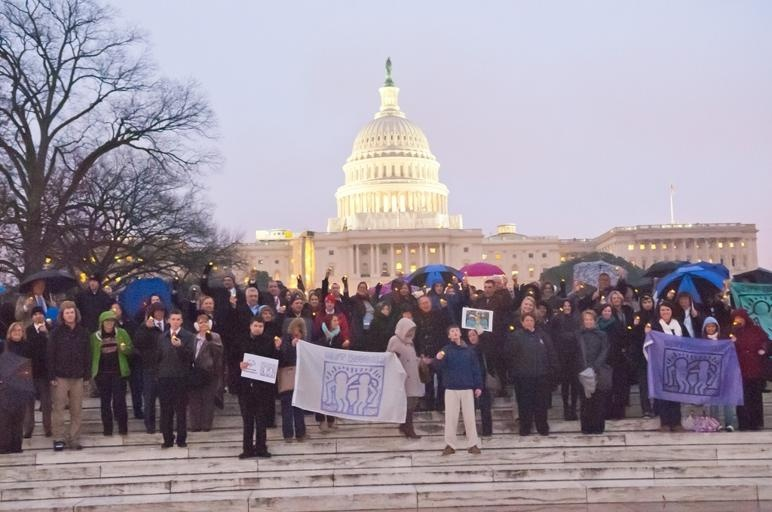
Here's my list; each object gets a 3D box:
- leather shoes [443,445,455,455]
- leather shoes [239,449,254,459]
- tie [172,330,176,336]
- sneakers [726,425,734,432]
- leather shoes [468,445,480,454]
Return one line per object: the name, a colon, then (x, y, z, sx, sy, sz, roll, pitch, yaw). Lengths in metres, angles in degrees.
leather shoes: (1.294, 3.981, 19.820, 0.262, 0.195, 0.188, 0, -10, -2)
leather shoes: (-2.823, 4.031, 19.717, 0.304, 0.181, 0.073, 2, -10, -12)
tie: (-4.395, 1.606, 20.116, 0.081, 0.098, 0.059, 2, -10, -16)
sneakers: (7.467, 3.726, 20.936, 0.111, 0.117, 0.179, 3, -1, 21)
leather shoes: (1.846, 3.986, 19.849, 0.273, 0.167, 0.282, 0, -10, -5)
